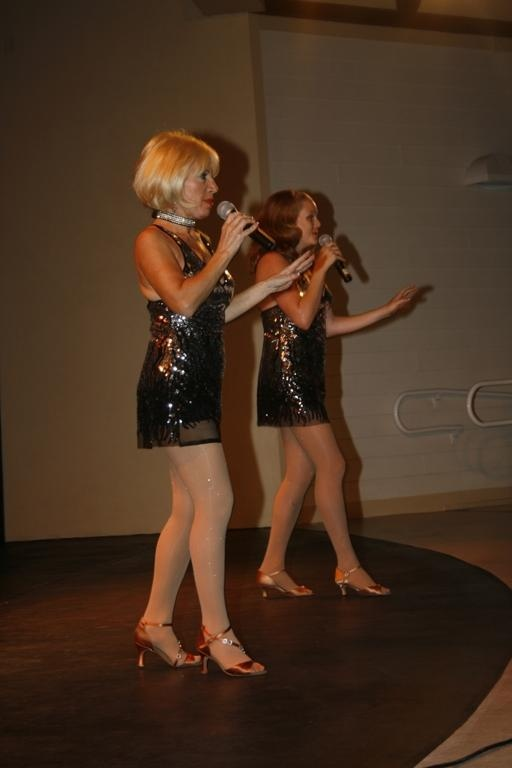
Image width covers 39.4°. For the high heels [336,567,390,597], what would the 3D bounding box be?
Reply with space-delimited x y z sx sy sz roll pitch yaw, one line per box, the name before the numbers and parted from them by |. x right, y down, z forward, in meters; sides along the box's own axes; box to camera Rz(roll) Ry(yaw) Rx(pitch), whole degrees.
high heels | 0.411 0.788 2.875 0.287 0.139 0.090 -2 1 9

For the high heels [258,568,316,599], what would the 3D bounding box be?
high heels | 0.159 0.816 2.957 0.290 0.131 0.091 -2 0 -7

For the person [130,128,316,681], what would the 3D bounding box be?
person | -0.147 0.085 2.047 0.432 1.611 0.506 2 10 -10
